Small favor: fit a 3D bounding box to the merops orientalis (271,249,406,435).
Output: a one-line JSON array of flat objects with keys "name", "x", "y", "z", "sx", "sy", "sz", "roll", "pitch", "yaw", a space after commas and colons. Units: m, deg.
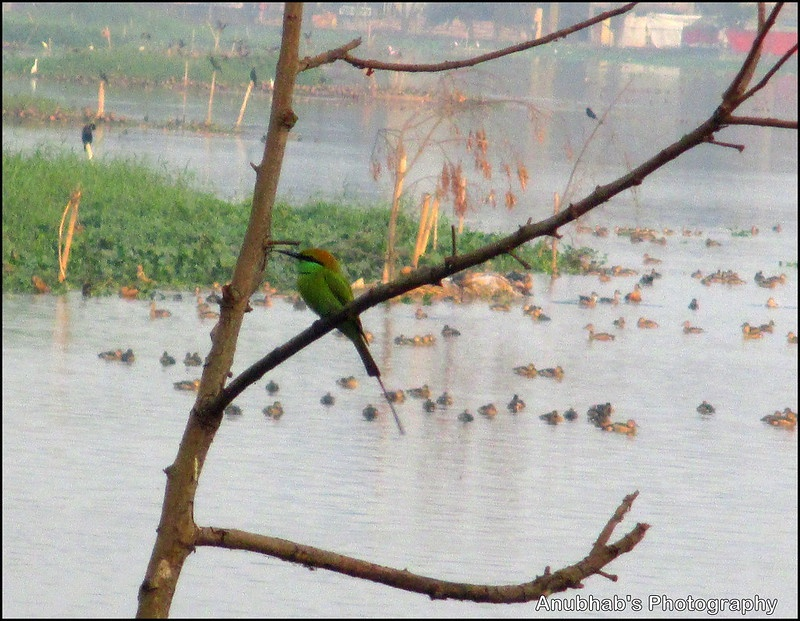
[{"name": "merops orientalis", "x": -0.910, "y": 0.570, "z": 21.827, "sx": 3.273, "sy": 0.916, "sz": 0.766, "roll": 42, "pitch": 1, "yaw": 10}]
